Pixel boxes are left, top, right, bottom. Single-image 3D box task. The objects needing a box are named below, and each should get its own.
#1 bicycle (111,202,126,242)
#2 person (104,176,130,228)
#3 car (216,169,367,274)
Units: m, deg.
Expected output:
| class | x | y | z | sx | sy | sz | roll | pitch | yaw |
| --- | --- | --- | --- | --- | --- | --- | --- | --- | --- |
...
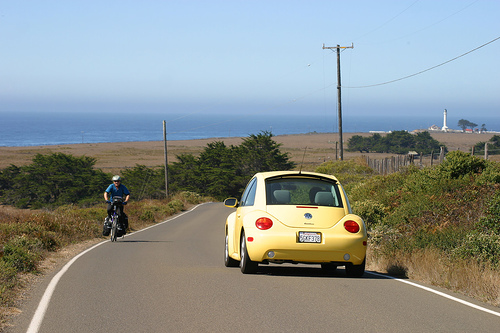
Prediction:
| class | x | y | z | sx | sy | sz | roll | pitch | yaw |
| --- | --- | --- | --- | --- | --- | --- | --- | --- | --- |
| bicycle | -5.289 | 2.187 | 18.107 | 0.628 | 1.408 | 0.314 | -1 | 1 | 35 |
| person | -5.249 | 1.411 | 18.069 | 0.880 | 1.871 | 1.359 | -1 | 0 | -15 |
| car | 1.053 | 1.359 | 11.042 | 3.329 | 1.729 | 1.718 | -1 | 0 | 8 |
